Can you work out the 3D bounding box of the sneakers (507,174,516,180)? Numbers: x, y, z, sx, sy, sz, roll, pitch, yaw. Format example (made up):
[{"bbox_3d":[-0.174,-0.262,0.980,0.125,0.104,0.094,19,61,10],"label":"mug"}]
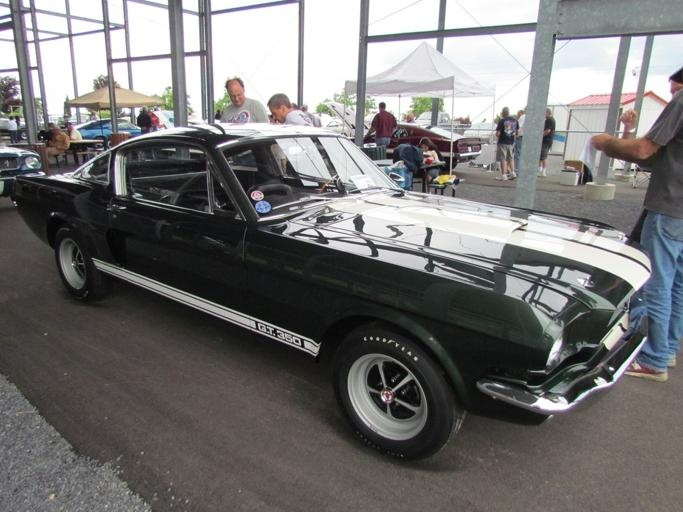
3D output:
[{"bbox_3d":[4.960,-2.332,12.982,0.149,0.155,0.356,-13,10,17],"label":"sneakers"}]

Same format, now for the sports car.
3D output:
[{"bbox_3d":[-0.603,-0.226,4.053,5.675,1.864,2.333,16,22,36],"label":"sports car"}]
